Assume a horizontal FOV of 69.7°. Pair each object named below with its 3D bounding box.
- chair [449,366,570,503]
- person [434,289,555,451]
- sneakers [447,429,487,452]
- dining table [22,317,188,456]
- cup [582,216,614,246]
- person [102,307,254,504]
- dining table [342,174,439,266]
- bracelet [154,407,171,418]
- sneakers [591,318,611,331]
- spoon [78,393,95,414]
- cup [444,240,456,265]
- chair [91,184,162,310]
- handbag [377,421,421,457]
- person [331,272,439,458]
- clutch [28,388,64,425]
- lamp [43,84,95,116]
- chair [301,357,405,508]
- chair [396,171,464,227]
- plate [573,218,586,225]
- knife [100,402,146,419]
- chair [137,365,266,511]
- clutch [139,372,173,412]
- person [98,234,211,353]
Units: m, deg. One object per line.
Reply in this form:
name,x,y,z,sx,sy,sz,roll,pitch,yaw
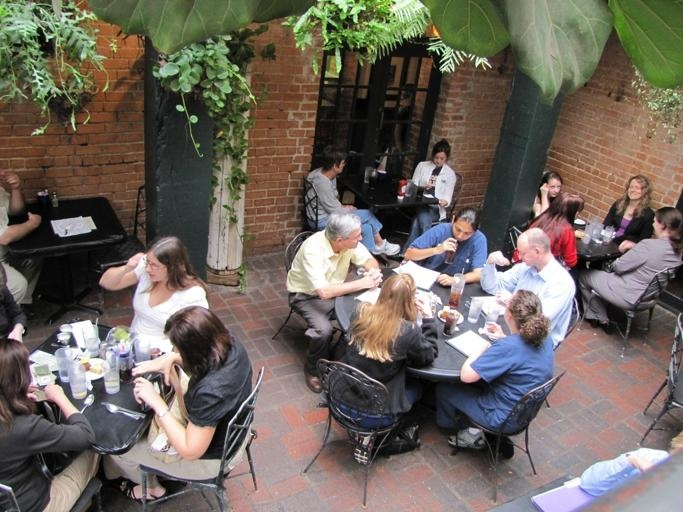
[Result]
chair,1.323,1.502,4.037,0.616,0.968,0.676,-25,44,-27
person,1.306,1.049,4.108,0.799,1.558,0.895,-1,12,-16
sneakers,1.116,1.642,4.352,0.396,0.182,0.157,4,32,5
dining table,-1.370,0.876,3.100,0.899,0.208,0.605,36,44,7
cup,3.431,-0.347,6.754,0.281,0.310,0.434,2,25,-24
person,-1.099,1.053,3.252,0.825,1.276,0.682,17,43,-7
dining table,0.620,-0.757,7.363,1.356,0.846,1.357,-17,54,-25
bracelet,-1.097,0.967,3.020,0.048,0.013,0.048,12,24,26
sneakers,3.352,0.895,6.396,0.253,0.156,0.130,5,1,-9
spoon,-1.665,0.977,3.222,0.031,0.023,0.138,31,34,-13
cup,1.136,-0.035,5.116,0.109,0.297,0.192,10,27,15
chair,-2.560,-0.268,5.718,0.594,0.552,0.976,-12,76,-24
handbag,0.523,1.609,4.346,0.478,0.201,0.169,-22,37,-24
person,0.415,0.925,4.001,0.871,1.720,0.528,-17,32,-35
clutch,-1.815,0.934,3.034,0.251,0.253,0.070,36,51,22
lamp,-2.829,-1.646,5.188,0.375,0.313,0.378,10,27,15
chair,0.121,1.469,3.943,0.608,0.962,0.709,23,50,12
chair,1.280,-0.853,7.164,0.676,1.052,0.612,1,37,-28
plate,3.351,-0.486,6.961,0.177,0.041,0.175,-5,22,-15
knife,-1.429,1.018,3.210,0.278,0.039,0.059,17,35,0
chair,-0.968,1.232,3.261,0.681,1.046,0.572,12,43,-10
clutch,-1.302,0.953,3.451,0.073,0.224,0.176,-22,28,5
person,-1.537,0.306,4.034,0.542,0.733,0.414,43,44,11
